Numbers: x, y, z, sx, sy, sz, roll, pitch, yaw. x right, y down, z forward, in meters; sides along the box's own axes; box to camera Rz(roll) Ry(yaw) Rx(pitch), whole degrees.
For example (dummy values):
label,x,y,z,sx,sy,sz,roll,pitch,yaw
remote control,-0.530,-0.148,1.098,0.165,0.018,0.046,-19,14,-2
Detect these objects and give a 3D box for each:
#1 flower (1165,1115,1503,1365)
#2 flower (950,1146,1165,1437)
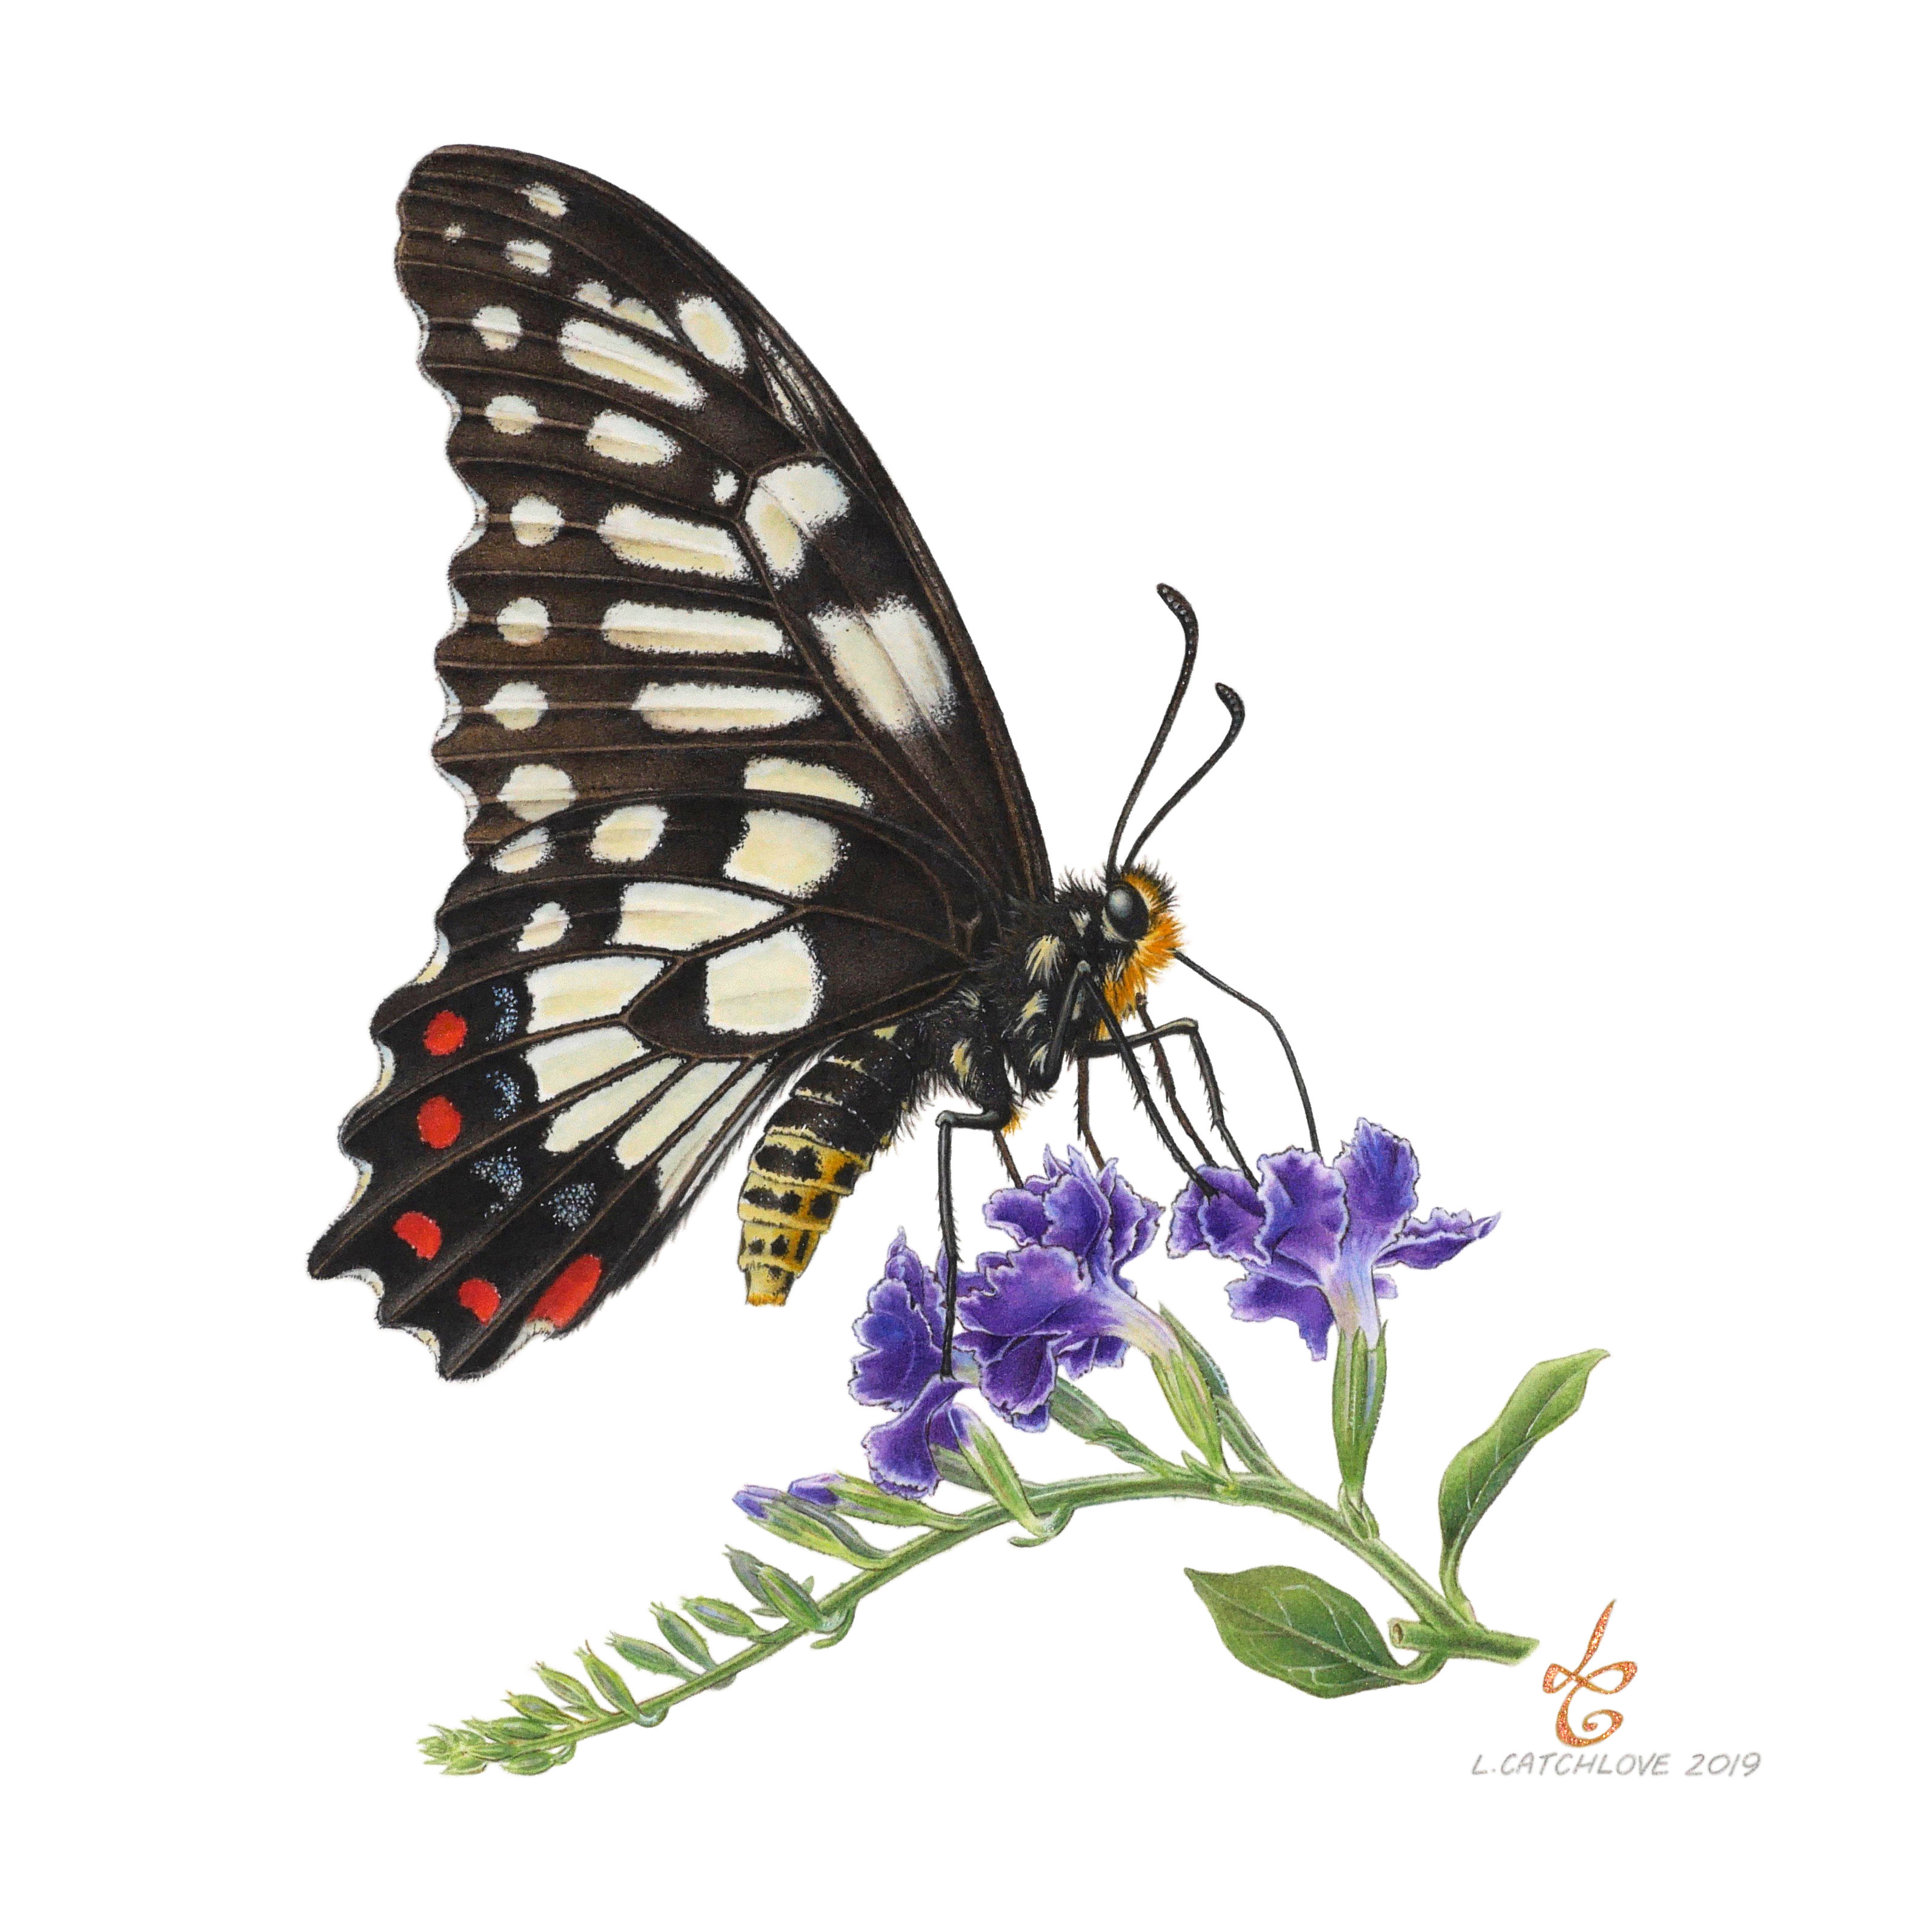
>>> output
label,x,y,z,sx,sy,sz,roll,pitch,yaw
flower,0.732,0.554,5.202,0.596,0.456,0.233,1,-21,-24
flower,0.181,0.644,5.106,0.444,0.535,0.243,-7,-19,-1
